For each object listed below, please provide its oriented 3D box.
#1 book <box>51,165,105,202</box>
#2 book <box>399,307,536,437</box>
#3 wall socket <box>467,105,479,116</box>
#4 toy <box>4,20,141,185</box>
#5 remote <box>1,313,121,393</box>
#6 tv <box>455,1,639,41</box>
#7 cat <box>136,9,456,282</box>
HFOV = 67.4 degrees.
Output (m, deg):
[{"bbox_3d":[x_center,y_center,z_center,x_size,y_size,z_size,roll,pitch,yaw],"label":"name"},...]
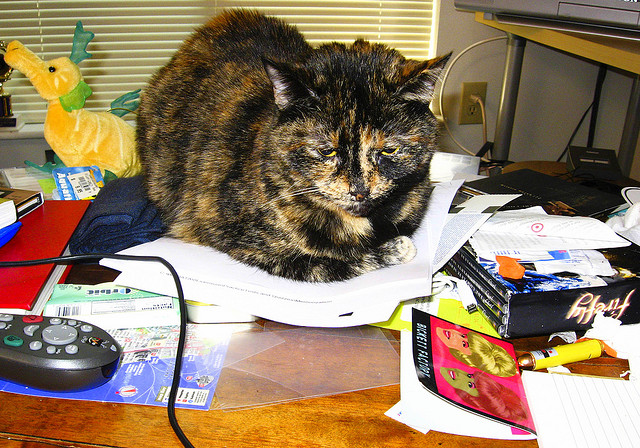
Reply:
[{"bbox_3d":[-0.547,-0.082,1.094,0.029,0.116,0.139,-20,9,-3],"label":"book"},{"bbox_3d":[0.194,0.208,0.660,0.168,0.065,0.153,5,20,3],"label":"book"},{"bbox_3d":[0.641,-0.479,2.022,0.043,0.034,0.010,9,1,12],"label":"wall socket"},{"bbox_3d":[-0.560,-0.265,1.131,0.281,0.298,0.134,15,26,22],"label":"toy"},{"bbox_3d":[-0.363,0.177,0.660,0.179,0.074,0.082,5,22,4],"label":"remote"},{"bbox_3d":[0.534,-0.508,1.184,0.089,0.102,0.520,-5,21,-22],"label":"tv"},{"bbox_3d":[-0.077,-0.157,0.834,0.356,0.412,0.501,-14,29,-38],"label":"cat"}]
